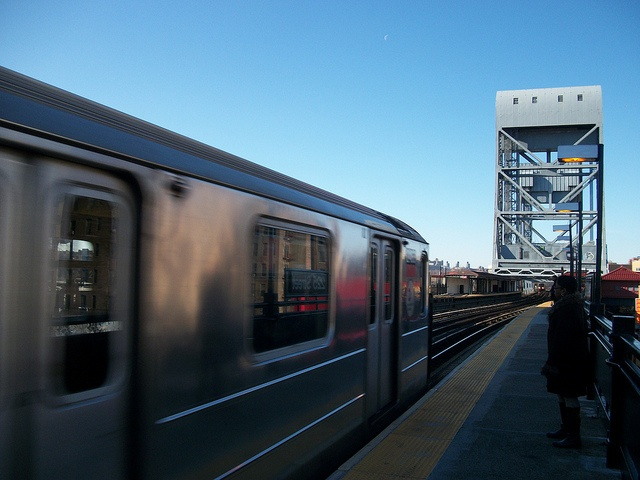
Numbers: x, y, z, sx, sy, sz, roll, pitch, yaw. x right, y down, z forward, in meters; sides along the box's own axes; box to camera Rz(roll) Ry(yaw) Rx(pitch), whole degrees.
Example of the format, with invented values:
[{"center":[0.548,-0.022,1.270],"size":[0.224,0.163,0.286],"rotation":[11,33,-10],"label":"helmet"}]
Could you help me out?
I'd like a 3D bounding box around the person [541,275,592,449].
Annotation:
[{"center":[2.786,1.368,5.159],"size":[0.452,1.957,0.703],"rotation":[-2,-7,29],"label":"person"}]
